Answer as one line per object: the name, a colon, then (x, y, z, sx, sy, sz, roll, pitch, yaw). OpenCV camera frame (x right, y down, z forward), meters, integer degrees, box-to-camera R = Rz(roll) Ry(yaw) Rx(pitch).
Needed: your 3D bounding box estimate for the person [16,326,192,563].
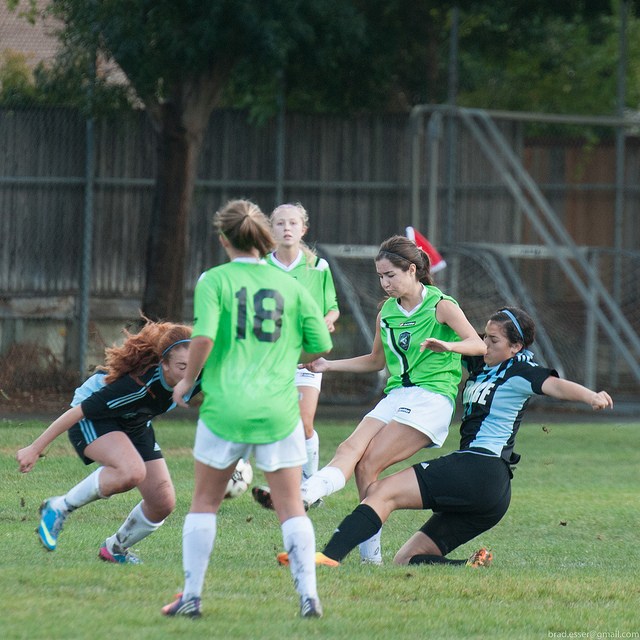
person: (-1.581, 0.971, 9.993, 0.919, 1.632, 1.058, 14, 12, 31)

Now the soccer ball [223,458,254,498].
soccer ball: (-0.625, 1.179, 10.036, 0.162, 0.172, 0.297, 18, 35, 18)

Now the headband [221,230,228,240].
headband: (-0.549, -0.486, 7.823, 0.010, 0.041, 0.041, -33, 5, -2)

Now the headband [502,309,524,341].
headband: (1.241, 0.029, 8.822, 0.064, 0.174, 0.159, -1, 5, -33)

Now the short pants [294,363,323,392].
short pants: (-0.086, 0.451, 10.297, 0.177, 0.230, 0.201, 2, -11, -6)

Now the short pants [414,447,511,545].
short pants: (0.926, 1.148, 8.799, 0.467, 0.563, 0.308, -20, 23, 1)

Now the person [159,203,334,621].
person: (-0.392, 0.502, 7.754, 0.883, 2.324, 0.438, 1, 4, -1)
